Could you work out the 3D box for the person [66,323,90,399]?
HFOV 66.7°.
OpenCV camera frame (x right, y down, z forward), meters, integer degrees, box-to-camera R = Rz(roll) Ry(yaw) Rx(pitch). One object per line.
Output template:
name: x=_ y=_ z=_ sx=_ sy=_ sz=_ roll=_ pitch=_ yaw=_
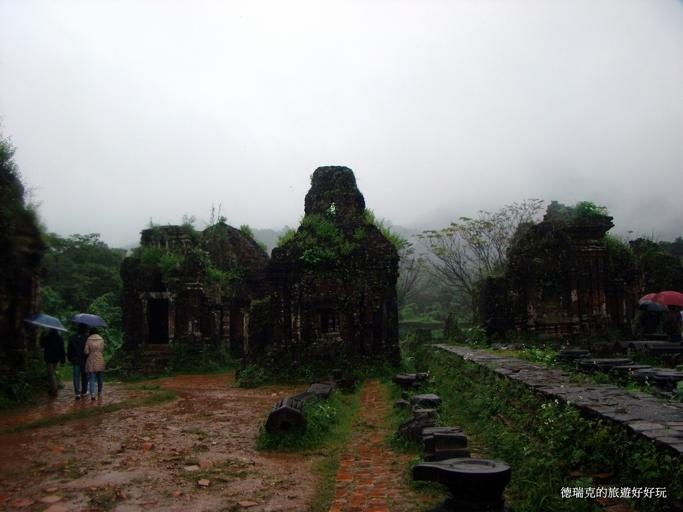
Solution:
person: x=-6.833 y=2.700 z=13.446 sx=0.482 sy=1.894 sz=1.535 roll=3 pitch=-3 yaw=-26
